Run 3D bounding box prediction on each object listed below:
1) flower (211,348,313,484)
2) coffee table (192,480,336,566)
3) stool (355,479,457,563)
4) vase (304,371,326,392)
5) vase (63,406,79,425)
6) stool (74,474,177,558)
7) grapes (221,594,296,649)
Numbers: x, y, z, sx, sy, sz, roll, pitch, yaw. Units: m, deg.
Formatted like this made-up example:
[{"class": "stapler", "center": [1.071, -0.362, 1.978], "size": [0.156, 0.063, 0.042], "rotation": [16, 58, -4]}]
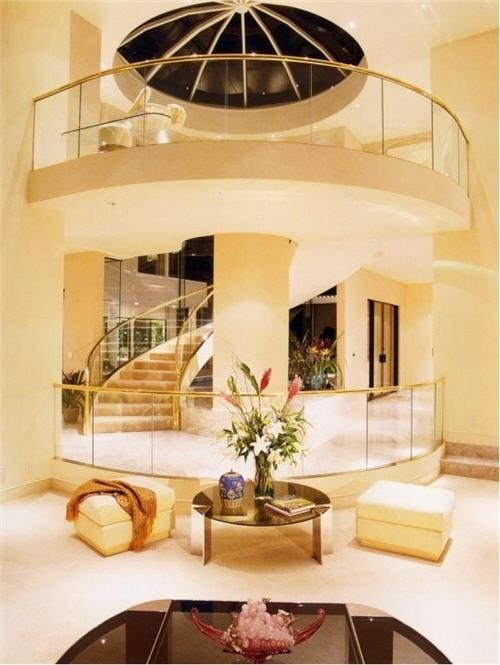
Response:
[{"class": "flower", "center": [0.122, 0.702, 4.474], "size": [0.524, 0.800, 0.501], "rotation": [-13, -15, 24]}, {"class": "coffee table", "center": [0.092, 1.464, 4.310], "size": [1.066, 0.468, 0.927], "rotation": [2, -2, -4]}, {"class": "stool", "center": [1.241, 1.356, 4.671], "size": [0.769, 0.490, 0.879], "rotation": [0, 21, 12]}, {"class": "vase", "center": [1.132, 0.837, 9.991], "size": [0.268, 0.328, 0.323], "rotation": [4, 6, 14]}, {"class": "vase", "center": [-1.881, 0.875, 6.004], "size": [0.186, 0.165, 0.196], "rotation": [1, -2, 38]}, {"class": "stool", "center": [-1.076, 1.385, 4.500], "size": [0.548, 0.346, 0.557], "rotation": [6, 5, 38]}, {"class": "grapes", "center": [0.047, 1.418, 2.797], "size": [0.363, 0.178, 0.248], "rotation": [2, -2, -7]}]
